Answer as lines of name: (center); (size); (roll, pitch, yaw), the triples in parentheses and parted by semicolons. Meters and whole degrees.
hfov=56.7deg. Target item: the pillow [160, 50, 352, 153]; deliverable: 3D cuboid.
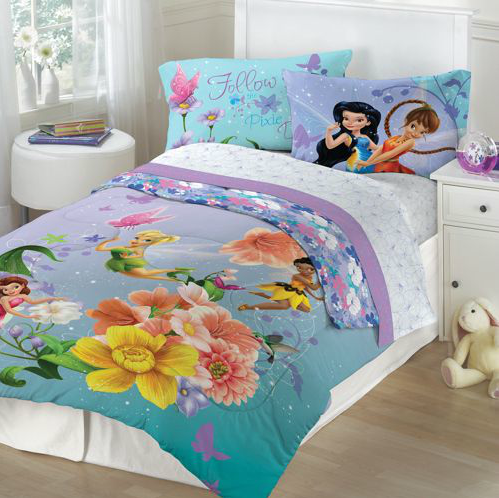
pillow: (-0.096, -0.720, 2.349); (0.881, 0.422, 0.178); (-17, 26, -40)

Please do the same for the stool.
stool: (-0.811, -0.334, 2.409); (0.529, 0.448, 0.442); (14, 42, 8)
